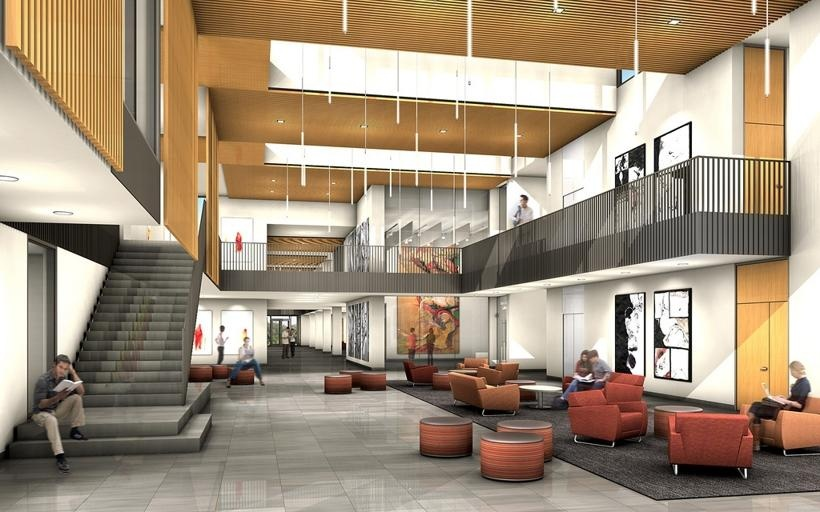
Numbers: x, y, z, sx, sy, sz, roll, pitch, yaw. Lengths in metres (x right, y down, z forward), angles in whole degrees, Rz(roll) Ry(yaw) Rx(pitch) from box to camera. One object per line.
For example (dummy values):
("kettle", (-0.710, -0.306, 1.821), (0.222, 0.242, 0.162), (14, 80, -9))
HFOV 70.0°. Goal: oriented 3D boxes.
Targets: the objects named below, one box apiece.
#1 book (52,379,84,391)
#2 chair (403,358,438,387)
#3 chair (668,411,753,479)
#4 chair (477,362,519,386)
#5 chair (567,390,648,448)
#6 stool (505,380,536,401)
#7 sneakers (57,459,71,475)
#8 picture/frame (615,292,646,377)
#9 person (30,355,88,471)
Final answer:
("book", (-6.768, 2.617, 11.732), (0.285, 0.247, 0.492), (0, -10, 19))
("chair", (0.384, 4.608, 23.164), (1.044, 0.838, 1.002), (0, -3, -12))
("chair", (5.399, 3.339, 10.724), (1.399, 1.132, 1.173), (0, -7, 9))
("chair", (3.042, 4.151, 19.827), (0.952, 0.579, 0.902), (2, -5, -25))
("chair", (4.288, 3.574, 12.907), (1.291, 1.067, 1.322), (2, -7, -25))
("stool", (3.676, 4.323, 18.562), (0.882, 0.532, 0.877), (1, -4, -3))
("sneakers", (-6.449, 3.931, 10.944), (0.217, 0.239, 0.303), (9, -11, -30))
("picture/frame", (7.566, 2.660, 20.149), (0.405, 2.718, 1.626), (5, -9, -11))
("person", (-6.910, 3.044, 11.621), (0.993, 2.079, 1.508), (7, -10, -23))
